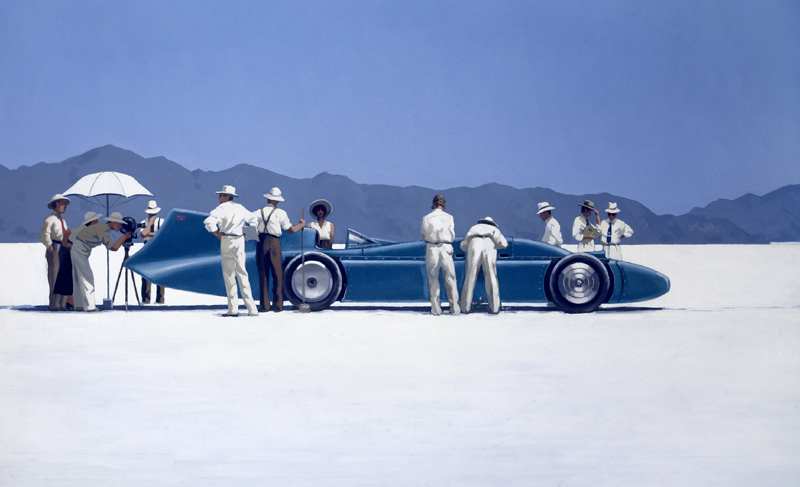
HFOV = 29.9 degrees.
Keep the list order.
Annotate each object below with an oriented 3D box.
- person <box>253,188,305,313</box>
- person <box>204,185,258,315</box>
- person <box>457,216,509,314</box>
[{"bbox_3d":[-3.239,0.097,38.426,1.053,3.179,1.112,0,-10,-5],"label":"person"},{"bbox_3d":[-4.411,0.157,38.352,1.477,3.268,0.993,1,-5,-42],"label":"person"},{"bbox_3d":[2.117,0.562,38.350,1.196,2.490,0.903,5,-13,-7],"label":"person"}]
